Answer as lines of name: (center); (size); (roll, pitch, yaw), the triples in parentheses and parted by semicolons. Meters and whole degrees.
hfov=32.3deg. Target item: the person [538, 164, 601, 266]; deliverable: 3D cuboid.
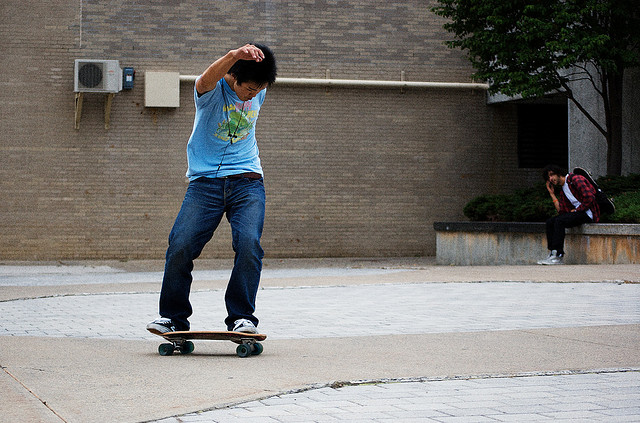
person: (4.959, 0.015, 22.012); (1.419, 1.920, 1.014); (-2, -4, -3)
